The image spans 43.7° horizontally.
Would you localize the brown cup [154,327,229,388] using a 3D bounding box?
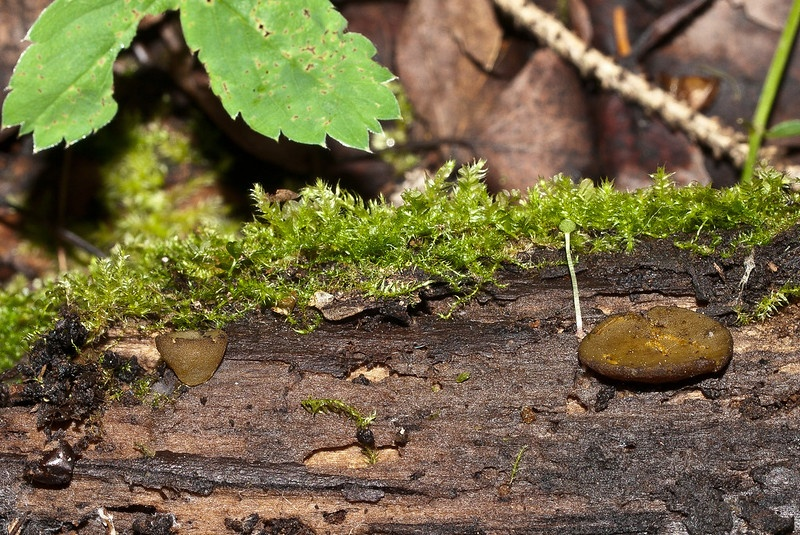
[{"bbox_3d":[-1.240,0.508,6.006,0.347,0.289,0.350,-1,5,0],"label":"brown cup"}]
